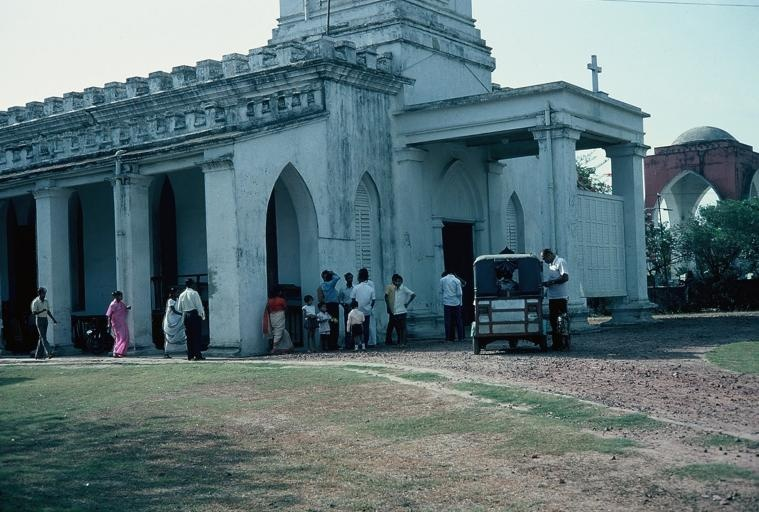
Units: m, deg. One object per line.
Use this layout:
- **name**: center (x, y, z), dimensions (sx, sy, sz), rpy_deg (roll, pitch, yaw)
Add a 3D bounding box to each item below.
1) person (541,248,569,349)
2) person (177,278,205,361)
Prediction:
- **person**: center (4.228, 0.970, 21.931), dimensions (0.685, 2.257, 0.795), rpy_deg (-6, 8, -11)
- **person**: center (-4.694, 1.643, 23.123), dimensions (0.712, 1.956, 0.824), rpy_deg (0, 0, 26)
